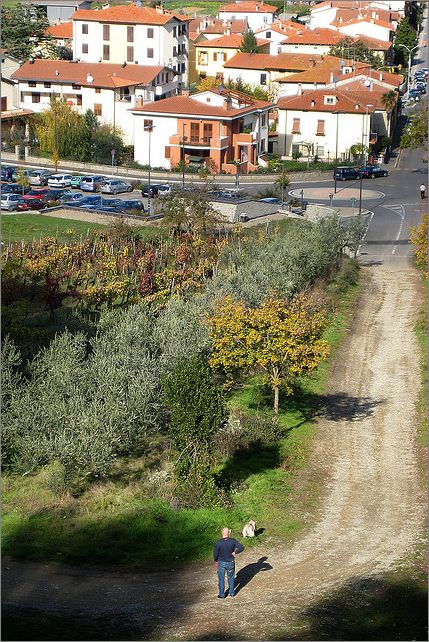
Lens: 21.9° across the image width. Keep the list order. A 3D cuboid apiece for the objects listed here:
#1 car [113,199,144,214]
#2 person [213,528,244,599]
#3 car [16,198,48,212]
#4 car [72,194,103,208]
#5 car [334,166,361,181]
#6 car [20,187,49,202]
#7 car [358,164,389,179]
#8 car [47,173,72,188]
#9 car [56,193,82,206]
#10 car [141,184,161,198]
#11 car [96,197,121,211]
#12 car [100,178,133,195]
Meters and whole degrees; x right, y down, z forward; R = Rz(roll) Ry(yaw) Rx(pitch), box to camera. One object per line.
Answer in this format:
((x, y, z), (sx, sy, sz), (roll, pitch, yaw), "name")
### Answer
((-6.076, -8.200, 79.756), (1.762, 0.950, 1.047), (-1, 9, -20), "car")
((0.275, 5.172, 23.909), (0.612, 2.006, 1.483), (-1, 12, 0), "person")
((-13.144, -8.321, 78.932), (1.778, 0.882, 1.021), (-18, 26, -36), "car")
((-9.342, -8.810, 81.150), (0.987, 0.822, 2.299), (7, 10, 23), "car")
((11.525, -12.996, 97.500), (2.833, 1.184, 0.702), (-10, 15, -35), "car")
((-13.322, -9.565, 82.925), (1.823, 0.968, 1.110), (-4, 11, -44), "car")
((14.116, -13.409, 99.308), (4.221, 0.976, 1.742), (-13, 17, -42), "car")
((-12.525, -11.542, 90.778), (1.000, 0.777, 1.727), (9, 24, 25), "car")
((-10.896, -9.289, 83.006), (0.997, 0.880, 1.699), (8, 12, 29), "car")
((-5.156, -10.094, 86.139), (1.114, 0.979, 1.966), (5, 21, 12), "car")
((-7.610, -8.411, 79.857), (0.869, 0.715, 2.030), (5, 9, 13), "car")
((-8.121, -10.852, 89.538), (1.135, 1.102, 3.076), (7, 15, 33), "car")
